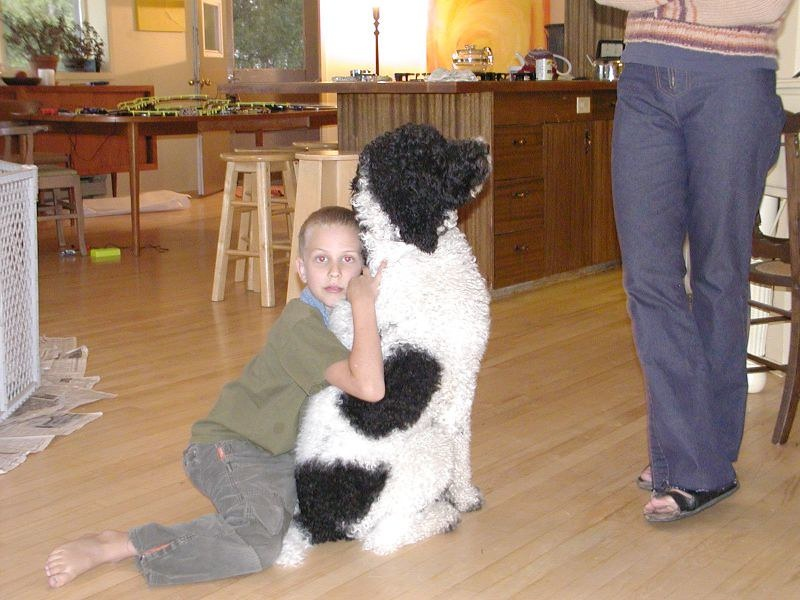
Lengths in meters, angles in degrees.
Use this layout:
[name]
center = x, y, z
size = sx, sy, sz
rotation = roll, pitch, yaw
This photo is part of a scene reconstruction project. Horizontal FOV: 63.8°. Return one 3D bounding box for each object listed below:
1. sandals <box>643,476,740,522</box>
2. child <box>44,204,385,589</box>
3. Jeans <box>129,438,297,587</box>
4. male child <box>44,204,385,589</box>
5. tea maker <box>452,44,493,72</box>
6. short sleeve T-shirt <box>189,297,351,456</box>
[sandals]
center = 0.714, 0.481, 1.564
size = 0.218, 0.065, 0.083
rotation = -15, 20, -18
[child]
center = -0.392, 0.204, 1.399
size = 0.758, 0.760, 0.427
rotation = -7, 3, -28
[Jeans]
center = -0.400, 0.453, 1.381
size = 0.302, 0.226, 0.269
rotation = 6, 16, 22
[male child]
center = -0.389, 0.204, 1.401
size = 0.781, 0.759, 0.428
rotation = -7, 6, -28
[tea maker]
center = 0.455, -1.529, 4.064
size = 0.236, 0.190, 0.432
rotation = 0, 14, 4
[short sleeve T-shirt]
center = -0.230, 0.217, 1.453
size = 0.136, 0.342, 0.346
rotation = 23, 1, -40
